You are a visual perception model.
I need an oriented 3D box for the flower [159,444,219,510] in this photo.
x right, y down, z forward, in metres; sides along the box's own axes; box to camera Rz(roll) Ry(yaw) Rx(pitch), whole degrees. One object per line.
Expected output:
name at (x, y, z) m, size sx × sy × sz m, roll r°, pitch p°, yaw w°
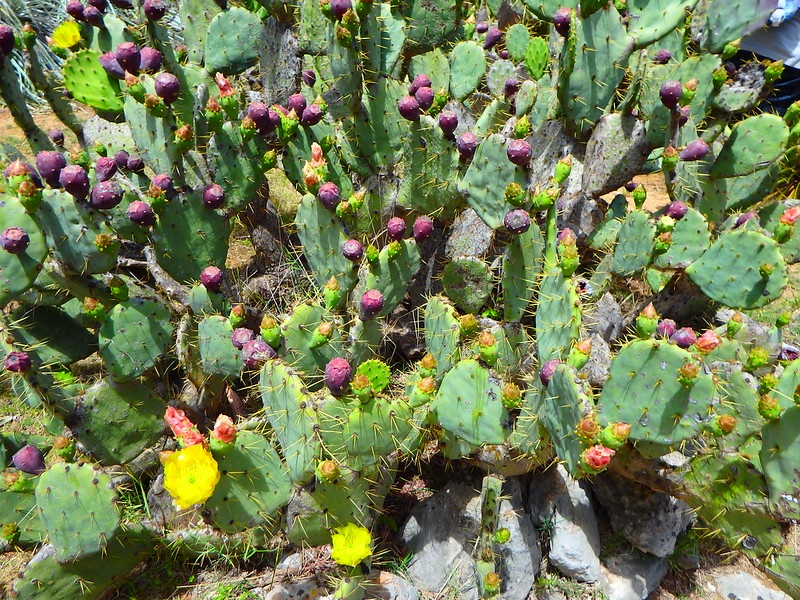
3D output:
flower at (-0.824, 0.702, 2.575) m, size 0.236 × 0.094 × 0.212 m, roll 38°, pitch 63°, yaw 22°

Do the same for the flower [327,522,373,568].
flower at (-0.198, 1.024, 2.786) m, size 0.176 × 0.090 × 0.198 m, roll -1°, pitch 53°, yaw 0°
